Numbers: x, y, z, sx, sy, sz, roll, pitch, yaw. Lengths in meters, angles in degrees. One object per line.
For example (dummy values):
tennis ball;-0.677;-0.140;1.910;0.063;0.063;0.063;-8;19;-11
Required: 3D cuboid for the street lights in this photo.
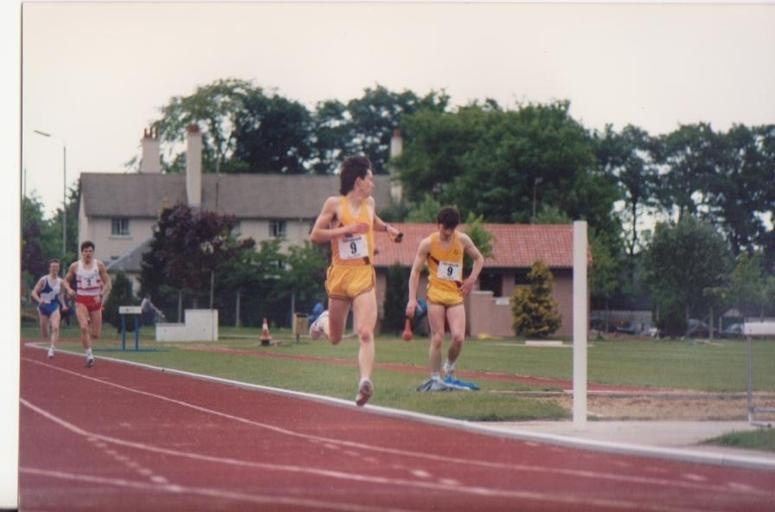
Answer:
street lights;-6.413;-0.552;26.894;0.439;3.128;0.795;4;-3;-2
